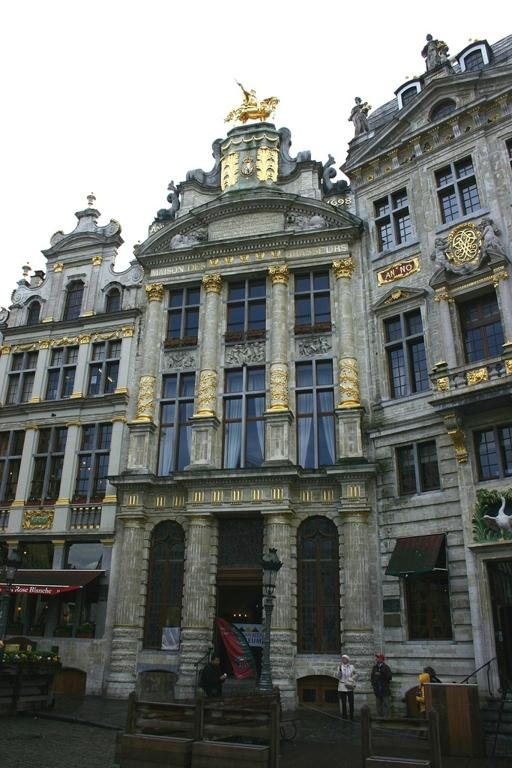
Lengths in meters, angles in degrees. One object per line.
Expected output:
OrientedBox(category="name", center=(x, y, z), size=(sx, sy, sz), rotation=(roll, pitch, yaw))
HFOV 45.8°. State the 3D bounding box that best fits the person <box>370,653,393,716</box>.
OrientedBox(category="person", center=(3.831, 9.097, 18.580), size=(0.650, 1.627, 0.501), rotation=(0, 4, 12))
